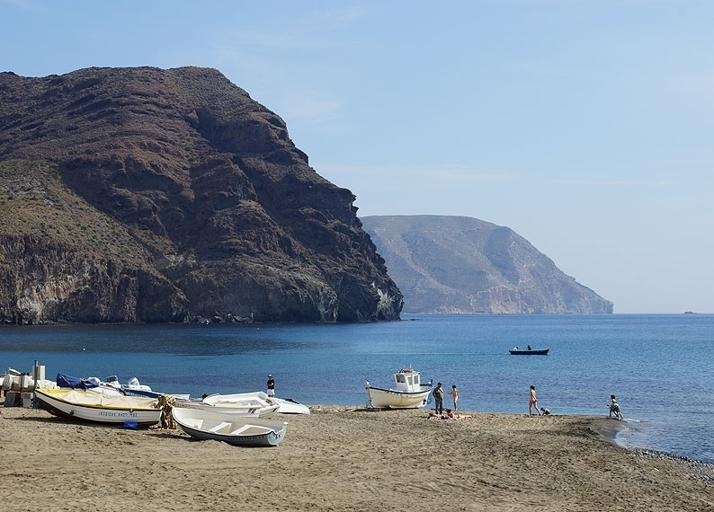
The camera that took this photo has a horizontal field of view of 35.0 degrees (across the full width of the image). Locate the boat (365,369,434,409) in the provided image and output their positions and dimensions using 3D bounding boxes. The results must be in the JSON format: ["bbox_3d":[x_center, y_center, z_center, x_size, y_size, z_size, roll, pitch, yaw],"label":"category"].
[{"bbox_3d":[5.883,17.370,147.464,4.466,5.053,7.130,9,10,43],"label":"boat"}]
